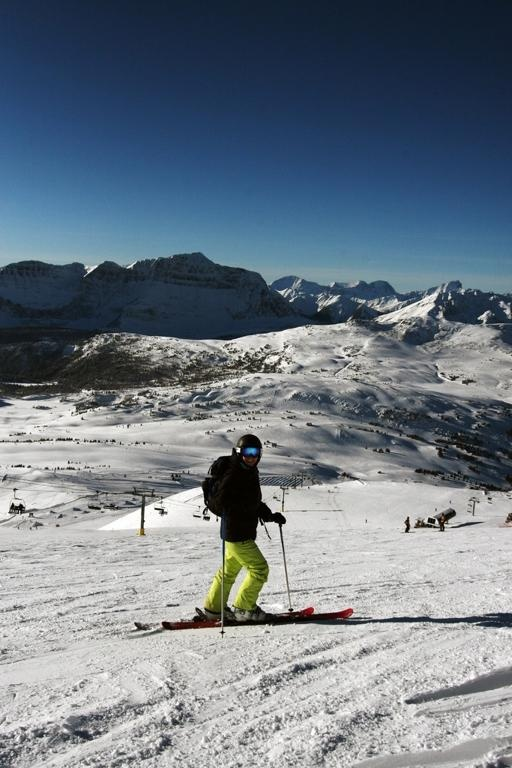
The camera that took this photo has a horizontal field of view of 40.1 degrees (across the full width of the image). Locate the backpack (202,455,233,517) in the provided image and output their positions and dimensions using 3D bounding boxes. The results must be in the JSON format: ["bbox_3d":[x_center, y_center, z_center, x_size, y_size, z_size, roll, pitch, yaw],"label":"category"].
[{"bbox_3d":[-0.394,0.997,6.821,0.242,0.656,0.530,11,7,-3],"label":"backpack"}]

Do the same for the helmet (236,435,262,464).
[{"bbox_3d":[-0.068,0.618,6.724,0.274,0.290,0.294,6,2,-16],"label":"helmet"}]

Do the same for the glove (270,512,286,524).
[{"bbox_3d":[0.240,1.364,7.025,0.144,0.069,0.192,5,-25,16],"label":"glove"}]
